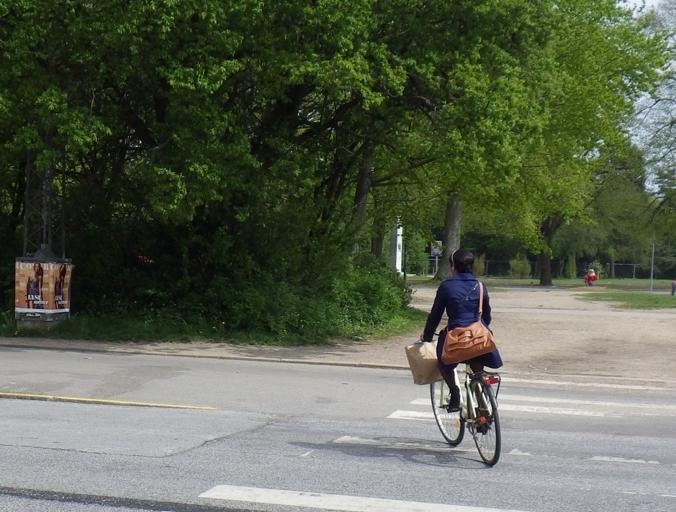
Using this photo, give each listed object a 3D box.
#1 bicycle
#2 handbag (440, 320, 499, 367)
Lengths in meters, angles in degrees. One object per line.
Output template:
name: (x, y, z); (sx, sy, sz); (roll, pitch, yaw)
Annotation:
bicycle: (1.902, 2.135, 13.796); (0.916, 1.197, 1.902); (-5, 10, -12)
handbag: (1.802, 1.248, 13.433); (0.849, 0.624, 0.347); (-20, 6, 3)
